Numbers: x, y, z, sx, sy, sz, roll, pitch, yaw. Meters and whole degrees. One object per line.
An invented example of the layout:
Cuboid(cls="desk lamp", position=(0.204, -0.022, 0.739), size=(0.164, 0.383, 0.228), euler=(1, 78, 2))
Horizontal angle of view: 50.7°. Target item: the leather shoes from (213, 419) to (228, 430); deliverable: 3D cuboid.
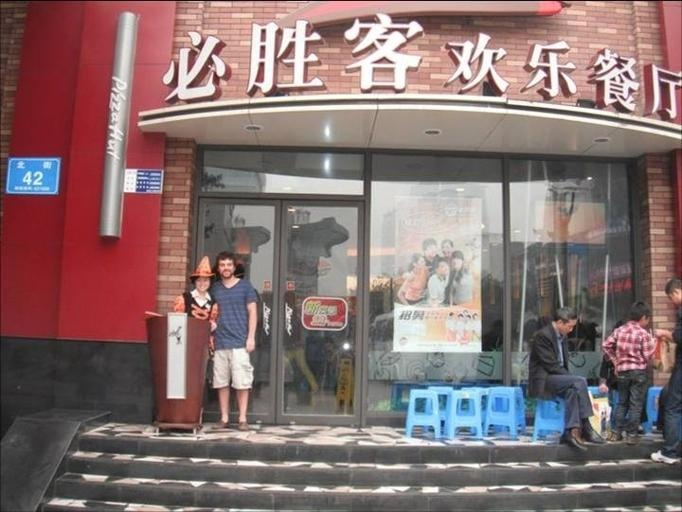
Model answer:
Cuboid(cls="leather shoes", position=(-1.530, 2.163, 9.363), size=(0.134, 0.121, 0.295), euler=(-2, -6, 34))

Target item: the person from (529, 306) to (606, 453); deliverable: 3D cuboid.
Cuboid(cls="person", position=(2.813, 1.503, 9.072), size=(0.562, 1.708, 0.842), euler=(5, -7, -38))

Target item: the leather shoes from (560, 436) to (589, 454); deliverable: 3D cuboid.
Cuboid(cls="leather shoes", position=(2.897, 2.281, 8.746), size=(0.406, 0.162, 0.142), euler=(4, 12, 44))

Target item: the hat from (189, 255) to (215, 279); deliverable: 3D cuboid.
Cuboid(cls="hat", position=(-1.775, 0.139, 9.492), size=(0.308, 0.327, 0.292), euler=(-8, 17, -39))

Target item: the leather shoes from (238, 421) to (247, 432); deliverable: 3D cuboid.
Cuboid(cls="leather shoes", position=(-1.252, 2.177, 9.314), size=(0.119, 0.104, 0.216), euler=(2, -5, -9))

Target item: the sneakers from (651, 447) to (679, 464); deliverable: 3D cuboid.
Cuboid(cls="sneakers", position=(3.963, 2.429, 8.783), size=(0.337, 0.164, 0.134), euler=(2, -8, 26))

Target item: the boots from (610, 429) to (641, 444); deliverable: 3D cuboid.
Cuboid(cls="boots", position=(3.517, 2.236, 8.934), size=(0.341, 0.126, 0.261), euler=(4, -6, -34))
